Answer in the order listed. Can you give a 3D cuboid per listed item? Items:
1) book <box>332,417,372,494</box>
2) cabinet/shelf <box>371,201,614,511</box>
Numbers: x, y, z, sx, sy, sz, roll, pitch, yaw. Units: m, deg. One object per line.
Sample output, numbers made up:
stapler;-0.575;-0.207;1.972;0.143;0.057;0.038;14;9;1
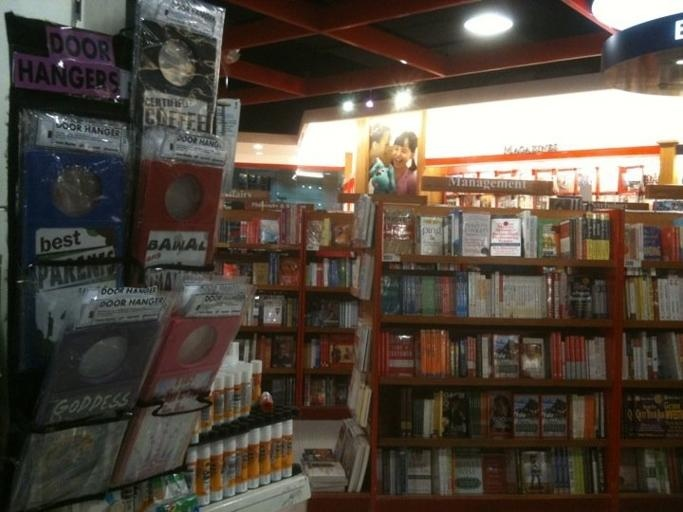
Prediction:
book;0.066;1.411;4.323;0.164;0.369;0.610;2;4;-11
cabinet/shelf;1.031;0.768;4.165;1.941;2.587;0.861;0;3;-2
